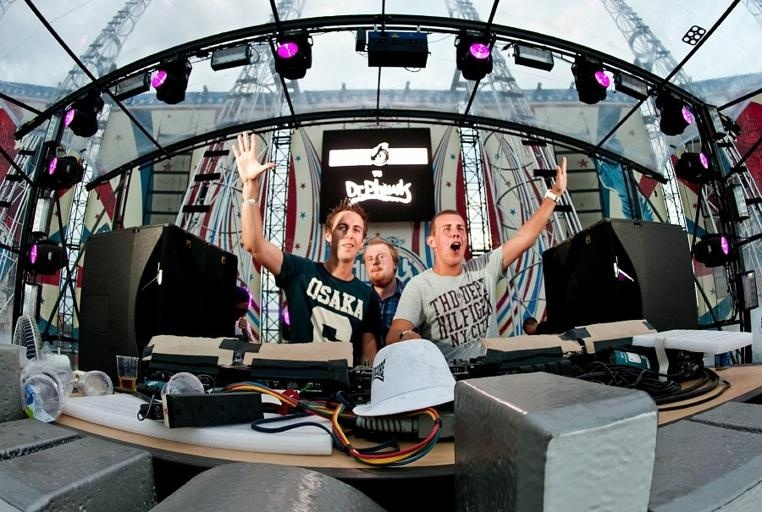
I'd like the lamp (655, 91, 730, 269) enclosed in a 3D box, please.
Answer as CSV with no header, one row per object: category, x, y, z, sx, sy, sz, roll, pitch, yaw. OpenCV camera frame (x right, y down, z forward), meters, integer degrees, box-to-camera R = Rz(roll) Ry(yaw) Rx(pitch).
lamp,4.119,-1.138,7.215,0.584,2.718,0.671,0,0,12

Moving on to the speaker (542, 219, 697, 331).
speaker,2.336,0.211,5.610,0.957,1.208,1.512,2,-3,-5

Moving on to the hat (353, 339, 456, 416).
hat,0.146,0.656,3.156,0.532,0.381,0.651,3,0,7

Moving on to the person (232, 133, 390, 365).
person,-0.580,0.224,4.568,1.082,2.459,0.899,1,-5,-12

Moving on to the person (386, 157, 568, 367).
person,0.685,0.214,4.418,0.955,1.829,1.017,2,-1,-6
